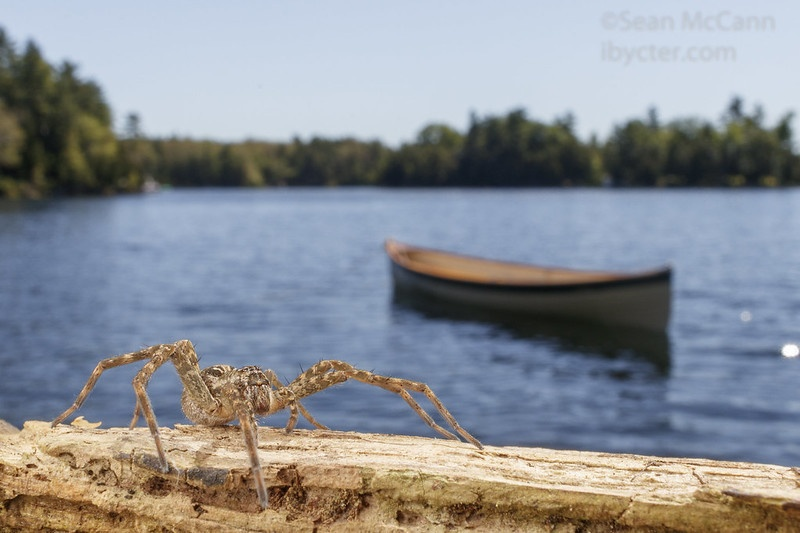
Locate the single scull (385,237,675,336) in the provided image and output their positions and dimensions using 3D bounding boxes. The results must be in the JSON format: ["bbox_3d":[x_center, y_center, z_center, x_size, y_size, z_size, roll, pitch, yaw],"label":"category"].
[{"bbox_3d":[5.060,0.728,48.322,4.856,3.085,16.980,-2,8,-45],"label":"single scull"}]

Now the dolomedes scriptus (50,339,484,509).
[{"bbox_3d":[-5.392,4.798,35.535,15.443,4.987,17.983,5,-1,6],"label":"dolomedes scriptus"}]
